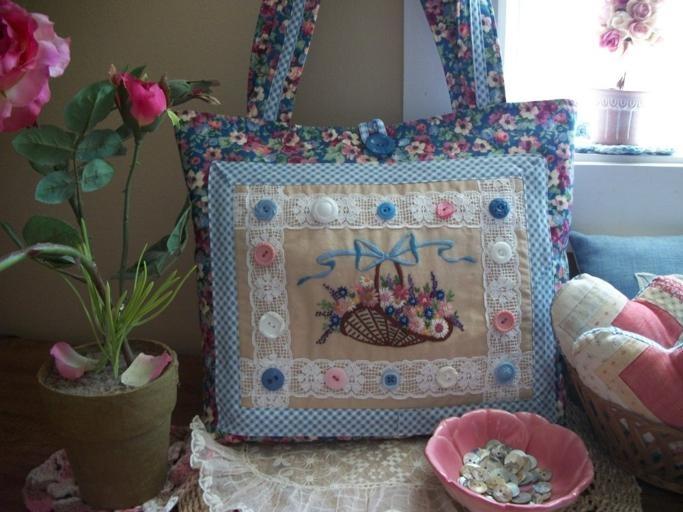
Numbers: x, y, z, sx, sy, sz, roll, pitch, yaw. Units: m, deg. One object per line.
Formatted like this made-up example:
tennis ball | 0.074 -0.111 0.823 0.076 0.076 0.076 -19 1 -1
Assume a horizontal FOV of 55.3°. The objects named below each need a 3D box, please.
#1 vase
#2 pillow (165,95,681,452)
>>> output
vase | -0.421 0.328 1.317 0.244 0.291 0.267 -1 15 -6
pillow | 0.174 0.049 1.313 0.695 0.530 0.098 -1 -5 3
